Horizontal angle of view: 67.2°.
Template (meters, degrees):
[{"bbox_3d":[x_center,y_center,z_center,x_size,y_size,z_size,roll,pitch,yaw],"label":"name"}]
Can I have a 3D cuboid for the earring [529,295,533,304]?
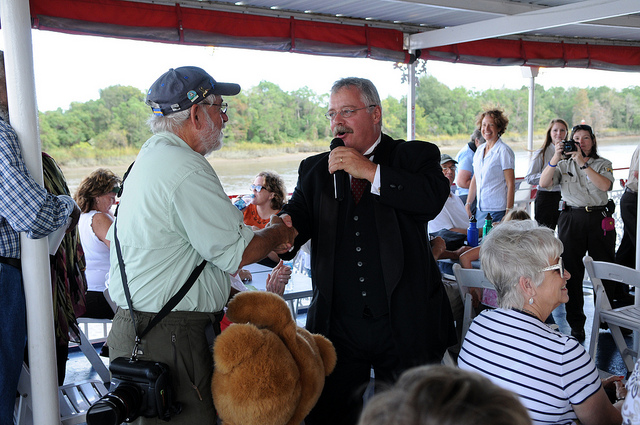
[{"bbox_3d":[1.001,0.421,2.287,0.018,0.033,0.006,-9,14,-26],"label":"earring"}]

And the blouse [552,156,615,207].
[{"bbox_3d":[2.778,-0.321,5.122,0.564,0.502,0.323,4,14,30],"label":"blouse"}]

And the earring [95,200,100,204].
[{"bbox_3d":[-2.022,-0.090,4.366,0.042,0.036,0.005,-1,13,6],"label":"earring"}]

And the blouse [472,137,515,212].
[{"bbox_3d":[2.156,-0.465,6.064,0.295,0.910,0.550,-9,14,-24],"label":"blouse"}]

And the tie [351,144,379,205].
[{"bbox_3d":[0.244,-0.219,2.615,0.099,0.352,0.057,14,0,10],"label":"tie"}]

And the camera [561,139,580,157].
[{"bbox_3d":[2.635,-0.668,5.059,0.206,0.202,0.082,4,1,23],"label":"camera"}]

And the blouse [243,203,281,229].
[{"bbox_3d":[-0.596,0.075,4.950,0.347,0.423,0.239,0,-9,-3],"label":"blouse"}]
